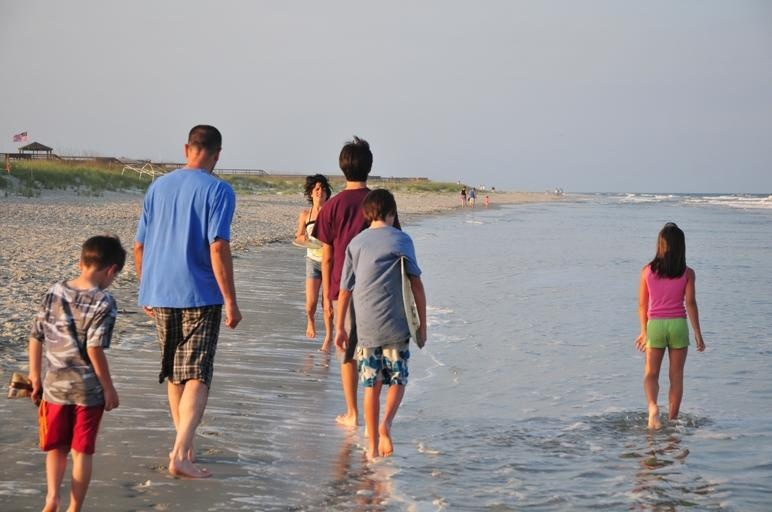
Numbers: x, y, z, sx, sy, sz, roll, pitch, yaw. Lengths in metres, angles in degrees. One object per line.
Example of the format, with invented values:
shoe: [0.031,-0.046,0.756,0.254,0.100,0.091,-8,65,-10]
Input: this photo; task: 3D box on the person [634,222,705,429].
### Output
person: [3.024,0.744,10.121,0.538,2.133,0.632,-1,15,-27]

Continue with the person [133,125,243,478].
person: [-1.817,0.344,8.577,0.948,3.097,1.138,3,14,-15]
